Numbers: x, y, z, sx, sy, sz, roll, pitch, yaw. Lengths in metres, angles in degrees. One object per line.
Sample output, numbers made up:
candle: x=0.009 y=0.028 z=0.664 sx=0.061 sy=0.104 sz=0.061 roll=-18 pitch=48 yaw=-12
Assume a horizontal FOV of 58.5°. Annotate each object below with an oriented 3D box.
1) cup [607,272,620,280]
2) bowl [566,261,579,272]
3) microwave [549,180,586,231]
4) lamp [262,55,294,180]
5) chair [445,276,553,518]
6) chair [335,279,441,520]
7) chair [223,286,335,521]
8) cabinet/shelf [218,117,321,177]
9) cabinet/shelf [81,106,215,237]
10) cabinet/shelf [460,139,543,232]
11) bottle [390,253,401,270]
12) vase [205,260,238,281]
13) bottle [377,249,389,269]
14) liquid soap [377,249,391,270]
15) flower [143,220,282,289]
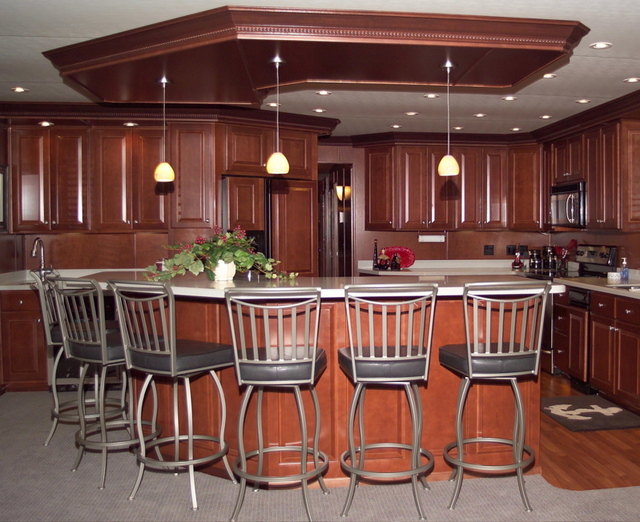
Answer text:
cup: x=2.772 y=0.137 z=5.421 sx=0.077 sy=0.034 sz=0.078 roll=0 pitch=2 yaw=0
bowl: x=2.879 y=0.062 z=6.537 sx=0.027 sy=0.105 sz=0.114 roll=16 pitch=2 yaw=-26
microwave: x=2.755 y=-0.591 z=6.158 sx=0.359 sy=0.525 sz=0.627 roll=-4 pitch=4 yaw=-9
lamp: x=-0.332 y=-1.104 z=4.422 sx=0.214 sy=0.889 sz=0.207 roll=1 pitch=5 yaw=7
chair: x=1.033 y=0.764 z=3.491 sx=0.611 sy=1.314 sz=0.831 roll=3 pitch=9 yaw=21
chair: x=0.392 y=0.767 z=3.424 sx=0.599 sy=1.336 sz=0.665 roll=1 pitch=9 yaw=9
chair: x=-0.238 y=0.783 z=3.359 sx=0.592 sy=1.324 sz=0.756 roll=-1 pitch=9 yaw=-3
cabinet/shelf: x=-0.579 y=-1.156 z=6.058 sx=1.341 sy=0.624 sz=0.354 roll=-2 pitch=9 yaw=-30
cabinet/shelf: x=-1.670 y=-0.941 z=5.647 sx=1.392 sy=1.259 sz=0.507 roll=0 pitch=1 yaw=-3
cabinet/shelf: x=2.202 y=-0.971 z=6.945 sx=1.157 sy=1.038 sz=0.378 roll=0 pitch=1 yaw=-2
bottle: x=0.881 y=0.011 z=6.736 sx=0.111 sy=0.175 sz=0.253 roll=1 pitch=8 yaw=6
vase: x=-0.695 y=0.049 z=4.028 sx=0.155 sy=0.115 sz=0.167 roll=8 pitch=13 yaw=36
bottle: x=0.744 y=-0.023 z=6.846 sx=0.188 sy=0.301 sz=0.218 roll=-2 pitch=5 yaw=-1
liquid soap: x=0.758 y=-0.005 z=6.834 sx=0.191 sy=0.274 sz=0.216 roll=-1 pitch=3 yaw=6
flower: x=-0.691 y=-0.035 z=4.095 sx=0.560 sy=0.274 sz=0.666 roll=7 pitch=11 yaw=42
